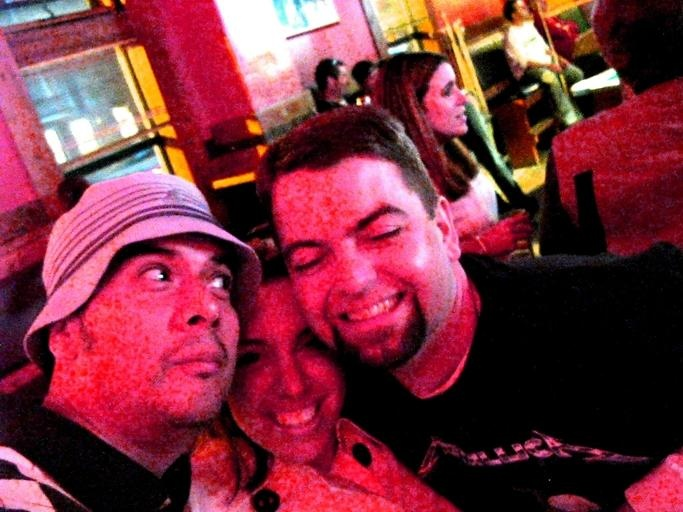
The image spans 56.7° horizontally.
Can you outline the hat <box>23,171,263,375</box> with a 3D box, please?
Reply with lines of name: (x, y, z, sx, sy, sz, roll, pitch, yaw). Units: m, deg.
hat: (-0.977, 0.017, 2.829, 0.955, 0.503, 0.820, -32, -21, 7)
